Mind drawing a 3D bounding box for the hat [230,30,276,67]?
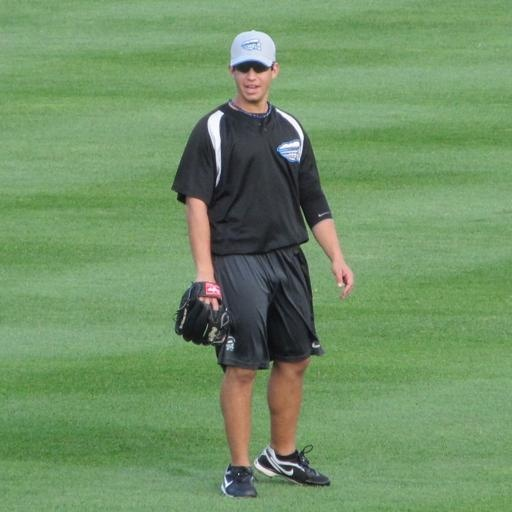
[{"bbox_3d":[-0.012,-1.003,6.425,0.147,0.123,0.214,1,1,4],"label":"hat"}]

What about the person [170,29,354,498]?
[{"bbox_3d":[0.023,0.029,6.409,0.851,2.176,0.548,-8,14,-31],"label":"person"}]

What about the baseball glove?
[{"bbox_3d":[-0.259,0.282,6.325,0.208,0.306,0.228,4,-4,-27],"label":"baseball glove"}]

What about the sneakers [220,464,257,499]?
[{"bbox_3d":[-0.086,1.065,6.335,0.197,0.161,0.137,3,13,14],"label":"sneakers"}]
